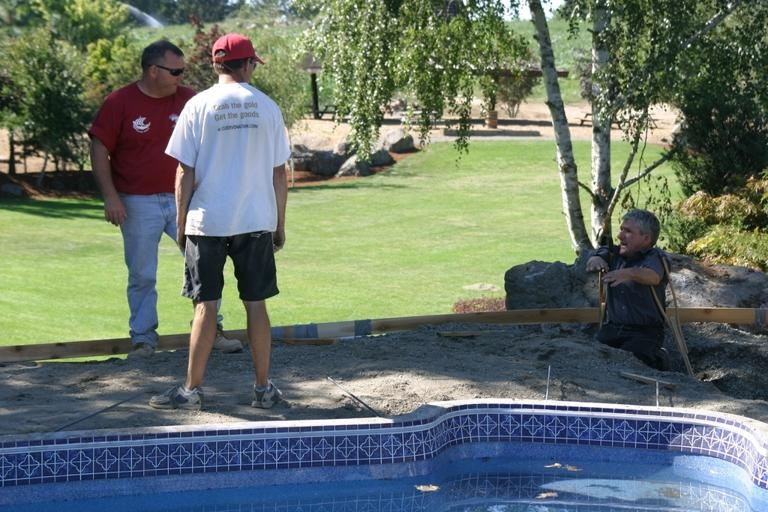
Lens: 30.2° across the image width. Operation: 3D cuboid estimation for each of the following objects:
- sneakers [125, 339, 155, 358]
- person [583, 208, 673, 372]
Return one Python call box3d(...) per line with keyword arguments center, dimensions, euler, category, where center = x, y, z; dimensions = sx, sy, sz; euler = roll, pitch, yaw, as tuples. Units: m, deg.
box3d(center=(-4.516, 1.788, 26.281), dimensions=(0.492, 0.192, 0.267), euler=(1, 5, 10), category="sneakers")
box3d(center=(4.637, 0.645, 26.435), dimensions=(1.304, 2.957, 0.851), euler=(1, 6, 10), category="person")
